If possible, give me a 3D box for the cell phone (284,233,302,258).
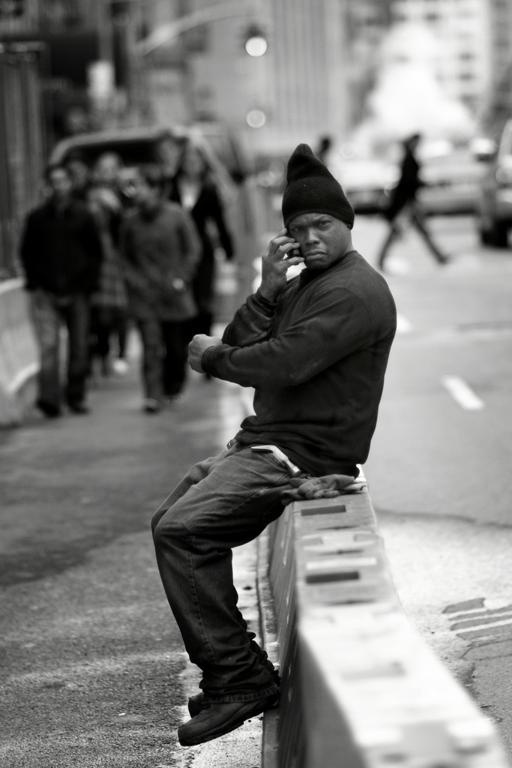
[{"bbox_3d":[0.121,-0.469,3.371,0.023,0.069,0.054,2,-13,-28],"label":"cell phone"}]

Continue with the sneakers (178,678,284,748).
[{"bbox_3d":[-0.082,1.031,3.065,0.330,0.122,0.192,-3,9,-6],"label":"sneakers"}]

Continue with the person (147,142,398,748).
[{"bbox_3d":[0.003,0.133,3.290,0.882,1.855,0.714,-7,11,-22],"label":"person"}]

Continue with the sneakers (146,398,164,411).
[{"bbox_3d":[-1.043,0.223,10.004,0.157,0.119,0.052,3,-6,-6],"label":"sneakers"}]

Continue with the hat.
[{"bbox_3d":[0.206,-0.675,3.324,0.291,0.239,0.208,1,15,-17],"label":"hat"}]
